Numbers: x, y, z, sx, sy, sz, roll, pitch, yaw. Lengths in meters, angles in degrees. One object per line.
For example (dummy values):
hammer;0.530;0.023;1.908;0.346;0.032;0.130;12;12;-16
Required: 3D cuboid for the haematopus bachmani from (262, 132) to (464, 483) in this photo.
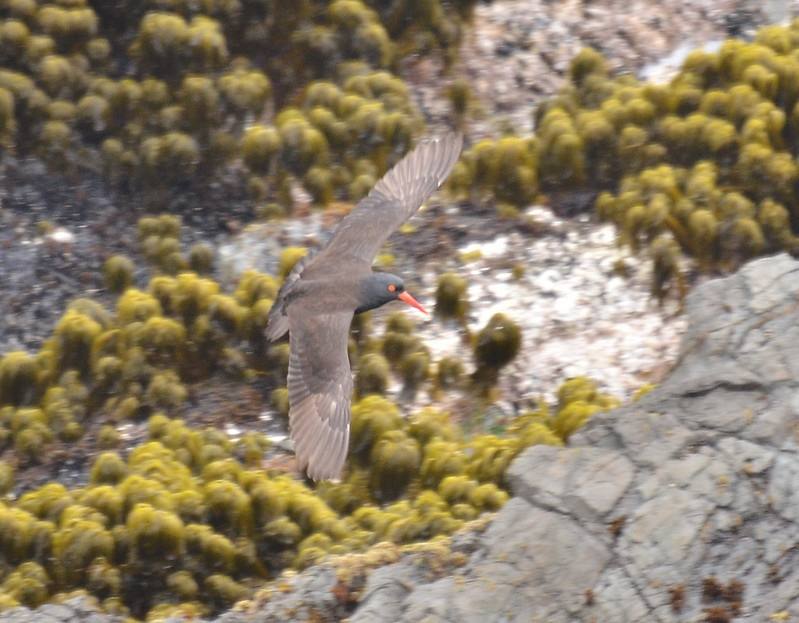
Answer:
haematopus bachmani;-0.571;0.172;13.394;1.218;3.322;3.202;18;39;-4
